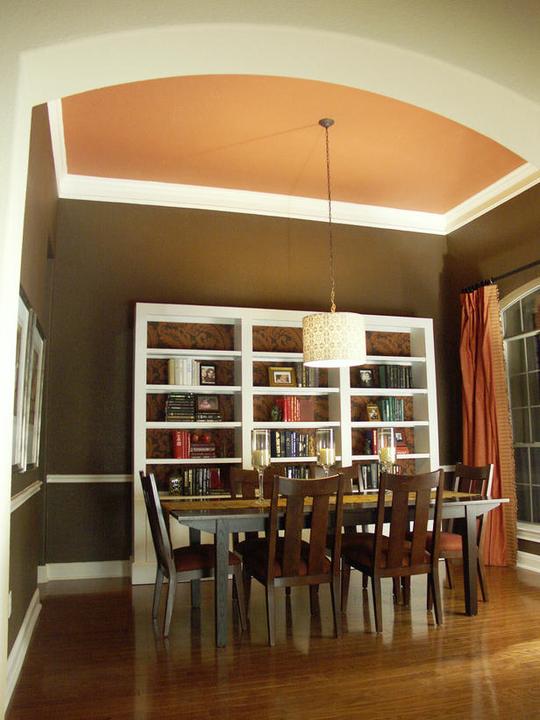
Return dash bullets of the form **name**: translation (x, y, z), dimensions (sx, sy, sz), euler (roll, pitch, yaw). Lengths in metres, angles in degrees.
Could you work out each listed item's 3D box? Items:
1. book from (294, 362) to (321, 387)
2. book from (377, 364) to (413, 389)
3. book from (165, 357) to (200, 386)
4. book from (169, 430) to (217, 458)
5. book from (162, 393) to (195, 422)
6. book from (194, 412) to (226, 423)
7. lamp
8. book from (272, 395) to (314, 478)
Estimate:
- **book**: translation (0.376, 0.186, 5.413), dimensions (0.259, 0.282, 0.197), euler (2, -9, -19)
- **book**: translation (1.262, 0.181, 5.621), dimensions (0.292, 0.321, 0.226), euler (0, -9, -5)
- **book**: translation (-0.762, 0.122, 4.962), dimensions (0.283, 0.307, 0.219), euler (3, -10, -24)
- **book**: translation (-0.663, 0.759, 4.981), dimensions (0.376, 0.256, 0.358), euler (0, -9, -4)
- **book**: translation (-0.795, 0.432, 4.882), dimensions (0.267, 0.298, 0.215), euler (2, -12, -11)
- **book**: translation (-0.504, 0.522, 5.015), dimensions (0.332, 0.107, 0.217), euler (6, -12, -37)
- **lamp**: translation (0.461, -0.940, 4.214), dimensions (0.467, 2.024, 0.473), euler (-1, -12, 3)
- **book**: translation (0.183, 0.641, 5.351), dimensions (0.454, 0.744, 0.509), euler (-2, -5, 3)
